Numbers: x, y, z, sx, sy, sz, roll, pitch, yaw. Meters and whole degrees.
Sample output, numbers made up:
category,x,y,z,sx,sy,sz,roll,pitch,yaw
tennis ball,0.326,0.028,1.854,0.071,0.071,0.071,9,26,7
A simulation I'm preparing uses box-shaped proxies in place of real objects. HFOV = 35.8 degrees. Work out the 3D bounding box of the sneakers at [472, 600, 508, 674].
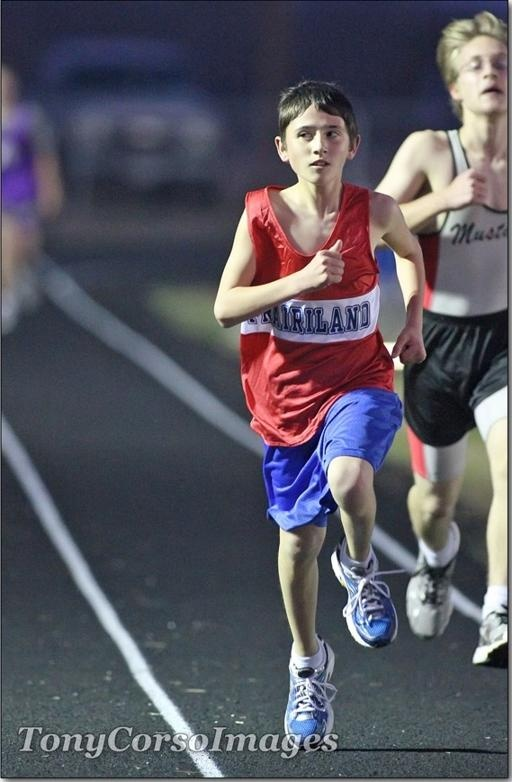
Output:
category,x,y,z,sx,sy,sz,roll,pitch,yaw
sneakers,0.726,0.767,2.454,0.109,0.210,0.114,2,30,18

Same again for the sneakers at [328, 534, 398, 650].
category,x,y,z,sx,sy,sz,roll,pitch,yaw
sneakers,0.279,0.523,2.035,0.143,0.287,0.136,-16,-16,3

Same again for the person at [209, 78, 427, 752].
category,x,y,z,sx,sy,sz,roll,pitch,yaw
person,0.183,0.095,1.985,0.454,1.578,0.719,-1,29,15

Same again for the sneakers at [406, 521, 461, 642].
category,x,y,z,sx,sy,sz,roll,pitch,yaw
sneakers,0.573,0.622,2.648,0.146,0.391,0.165,6,-7,7

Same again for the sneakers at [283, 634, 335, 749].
category,x,y,z,sx,sy,sz,roll,pitch,yaw
sneakers,0.164,0.797,2.142,0.132,0.290,0.139,1,-14,9
